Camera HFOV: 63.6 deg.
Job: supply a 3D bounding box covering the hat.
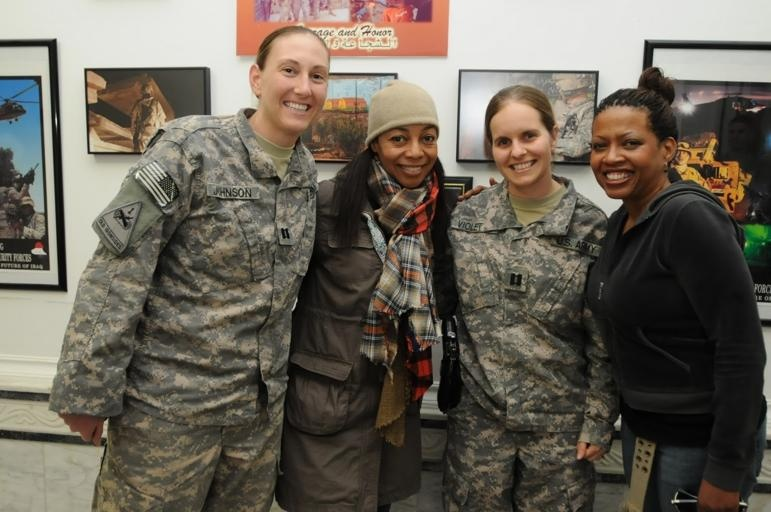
[{"bbox_3d":[0.074,-0.642,2.832,0.351,0.275,0.306,-14,-4,-16],"label":"hat"}]
